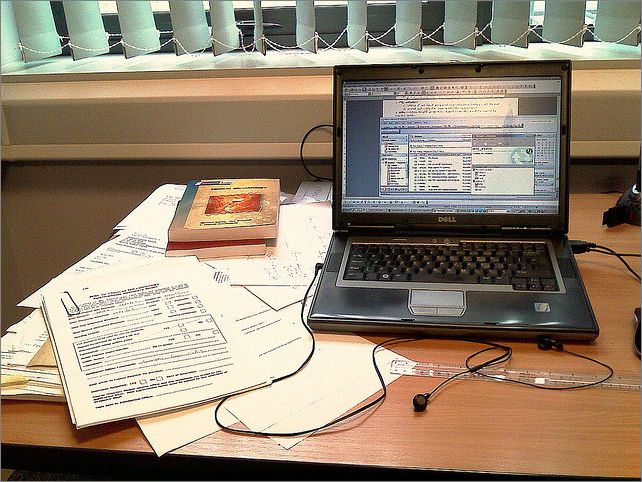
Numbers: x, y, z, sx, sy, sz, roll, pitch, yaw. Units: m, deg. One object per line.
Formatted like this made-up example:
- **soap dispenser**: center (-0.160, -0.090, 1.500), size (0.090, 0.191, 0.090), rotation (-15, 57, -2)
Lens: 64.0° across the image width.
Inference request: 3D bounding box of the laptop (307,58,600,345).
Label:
- **laptop**: center (0.312, -0.148, 1.101), size (0.488, 0.303, 0.393), rotation (5, -4, 26)

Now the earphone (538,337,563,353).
- **earphone**: center (0.347, 0.158, 0.780), size (0.036, 0.015, 0.018), rotation (4, 42, 13)
